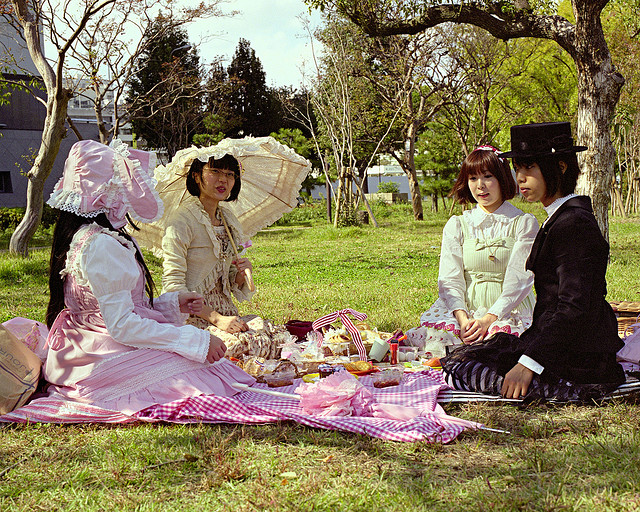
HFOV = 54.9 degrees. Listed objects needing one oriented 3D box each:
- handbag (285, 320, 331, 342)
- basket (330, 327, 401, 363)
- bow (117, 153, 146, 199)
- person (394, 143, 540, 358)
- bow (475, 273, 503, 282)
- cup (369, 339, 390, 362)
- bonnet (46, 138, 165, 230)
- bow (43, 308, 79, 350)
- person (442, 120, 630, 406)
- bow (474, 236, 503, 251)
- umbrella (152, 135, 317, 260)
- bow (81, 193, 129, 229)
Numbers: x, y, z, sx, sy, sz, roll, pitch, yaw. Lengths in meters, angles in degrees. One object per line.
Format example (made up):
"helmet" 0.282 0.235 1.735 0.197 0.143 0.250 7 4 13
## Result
"handbag" -0.141 0.679 5.784 0.281 0.106 0.208 3 6 18
"basket" 0.419 0.777 5.524 0.486 0.267 0.565 -3 11 7
"bow" -1.189 -0.494 3.875 0.132 0.339 0.040 -32 -6 17
"person" 1.248 -0.034 4.903 1.000 1.664 1.224 1 7 40
"bow" 1.362 0.176 4.972 0.215 0.077 0.024 2 10 19
"cup" 0.492 0.801 5.178 0.149 0.207 0.075 -1 10 4
"bonnet" -1.330 -0.481 3.916 0.666 0.424 0.549 -13 32 -26
"bow" -1.683 0.467 4.014 0.064 0.247 0.185 27 4 2
"person" 1.456 0.053 4.035 1.030 1.828 0.563 3 11 27
"bow" 1.358 -0.096 4.962 0.219 0.110 0.061 1 10 18
"umbrella" -0.696 -0.843 5.475 1.224 0.450 1.247 -29 -23 -7
"bow" -1.341 -0.298 3.870 0.211 0.242 0.124 21 -27 -4
